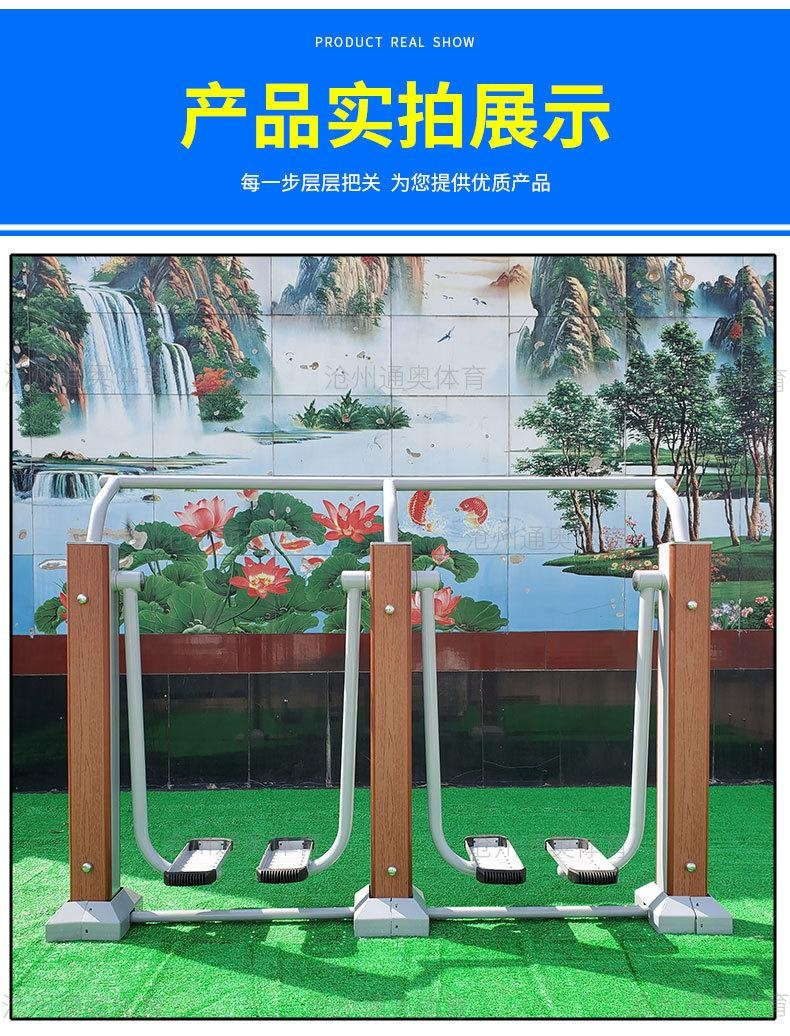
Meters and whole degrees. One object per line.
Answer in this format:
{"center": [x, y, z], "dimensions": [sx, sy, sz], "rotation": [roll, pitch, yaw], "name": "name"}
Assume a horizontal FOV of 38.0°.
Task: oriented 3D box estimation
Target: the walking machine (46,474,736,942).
{"center": [-0.018, 0.742, 4.587], "dimensions": [2.631, 1.755, 0.679], "rotation": [-1, -5, 0], "name": "walking machine"}
